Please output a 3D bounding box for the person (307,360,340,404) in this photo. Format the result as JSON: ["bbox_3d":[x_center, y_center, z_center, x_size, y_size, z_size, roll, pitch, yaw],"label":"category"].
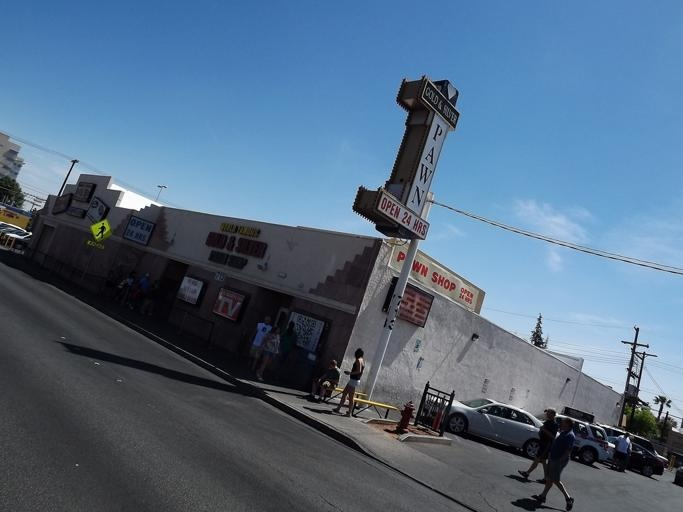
[{"bbox_3d":[-0.645,4.695,16.181,0.913,1.739,0.977,20,7,-30],"label":"person"}]

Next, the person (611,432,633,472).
[{"bbox_3d":[15.222,10.701,23.838,0.705,1.591,1.120,10,-3,35],"label":"person"}]

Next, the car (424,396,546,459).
[{"bbox_3d":[6.197,7.043,18.641,4.460,1.716,2.192,16,-5,13],"label":"car"}]
